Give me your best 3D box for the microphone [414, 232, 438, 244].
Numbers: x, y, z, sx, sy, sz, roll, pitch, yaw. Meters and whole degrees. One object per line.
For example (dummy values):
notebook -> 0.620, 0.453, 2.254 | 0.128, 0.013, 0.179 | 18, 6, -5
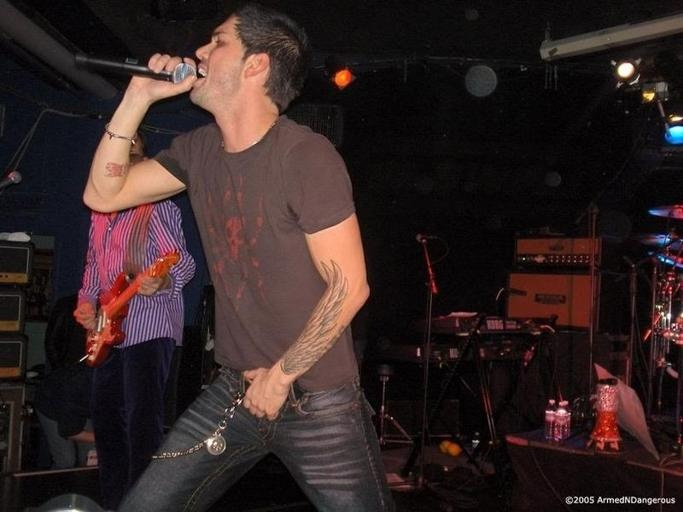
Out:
microphone -> 0.767, -0.182, 5.703 | 0.170, 0.076, 0.286 | 14, 3, 28
